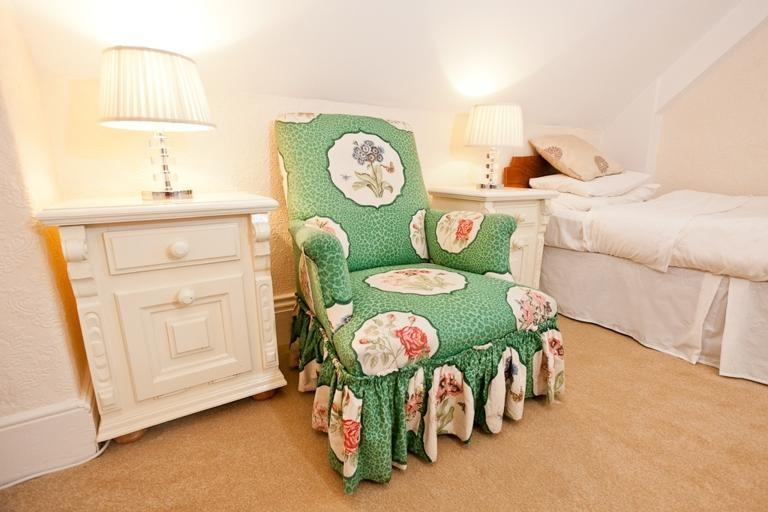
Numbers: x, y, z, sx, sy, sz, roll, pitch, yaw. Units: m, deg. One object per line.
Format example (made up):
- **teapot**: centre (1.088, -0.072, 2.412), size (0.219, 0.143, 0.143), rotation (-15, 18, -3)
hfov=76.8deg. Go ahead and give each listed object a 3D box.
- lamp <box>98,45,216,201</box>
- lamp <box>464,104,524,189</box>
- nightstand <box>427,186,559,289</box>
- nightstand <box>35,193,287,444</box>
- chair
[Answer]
- **lamp**: centre (-0.977, -0.560, 2.115), size (0.445, 0.642, 0.321), rotation (-5, 7, -30)
- **lamp**: centre (0.671, -0.689, 3.021), size (0.389, 0.565, 0.399), rotation (8, 25, 20)
- **nightstand**: centre (0.711, -0.138, 3.180), size (0.591, 0.894, 0.646), rotation (-10, 17, -36)
- **nightstand**: centre (-0.950, 0.206, 2.329), size (0.891, 1.061, 0.544), rotation (-10, 24, -27)
- **chair**: centre (0.054, 0.043, 2.382), size (1.203, 1.372, 1.329), rotation (-12, 24, -34)
